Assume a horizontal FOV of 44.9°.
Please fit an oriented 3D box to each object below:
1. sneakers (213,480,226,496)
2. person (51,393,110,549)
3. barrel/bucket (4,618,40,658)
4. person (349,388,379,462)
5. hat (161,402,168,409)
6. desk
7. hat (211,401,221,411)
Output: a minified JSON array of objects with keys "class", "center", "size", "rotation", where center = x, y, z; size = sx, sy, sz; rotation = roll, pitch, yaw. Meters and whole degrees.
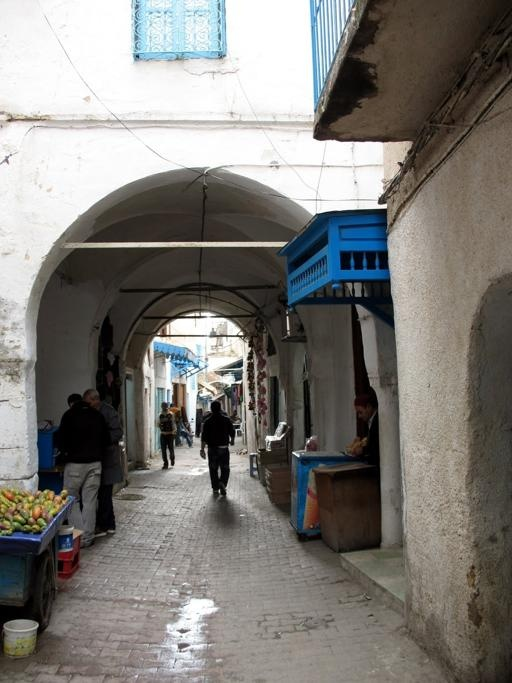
[{"class":"sneakers","center":[-0.634,2.562,10.770],"size":[0.122,0.358,0.151],"rotation":[-1,37,3]},{"class":"person","center":[-1.963,1.422,6.941],"size":[0.568,1.589,0.560],"rotation":[4,-7,-39]},{"class":"barrel/bucket","center":[-1.374,1.725,3.637],"size":[0.177,0.160,0.174],"rotation":[2,-4,0]},{"class":"person","center":[1.160,0.912,6.677],"size":[0.285,0.721,1.388],"rotation":[-2,-6,10]},{"class":"hat","center":[-2.384,1.629,15.858],"size":[0.205,0.208,0.347],"rotation":[3,-10,-4]},{"class":"desk","center":[0.929,1.608,6.269],"size":[0.534,0.807,0.659],"rotation":[-6,-3,-7]},{"class":"hat","center":[-0.682,1.100,10.485],"size":[0.136,0.212,0.190],"rotation":[4,2,1]}]
